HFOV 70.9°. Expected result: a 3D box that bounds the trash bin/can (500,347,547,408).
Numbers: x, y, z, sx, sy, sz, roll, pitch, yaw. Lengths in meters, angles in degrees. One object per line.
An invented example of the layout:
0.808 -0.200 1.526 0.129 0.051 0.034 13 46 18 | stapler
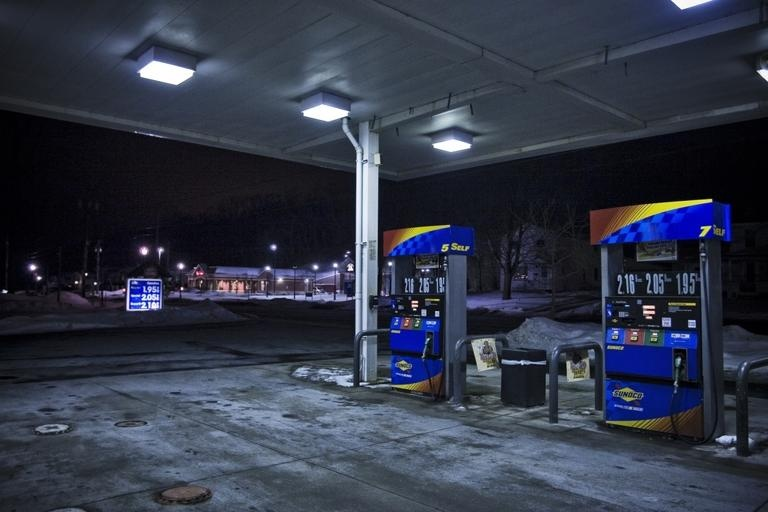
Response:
2.697 2.304 10.462 0.986 1.387 1.039 -3 -5 31 | trash bin/can

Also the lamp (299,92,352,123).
-1.206 -3.111 11.299 0.856 0.342 0.705 -4 -6 42 | lamp

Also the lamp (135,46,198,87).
-3.904 -3.404 9.695 0.905 0.345 0.736 3 -5 -30 | lamp
